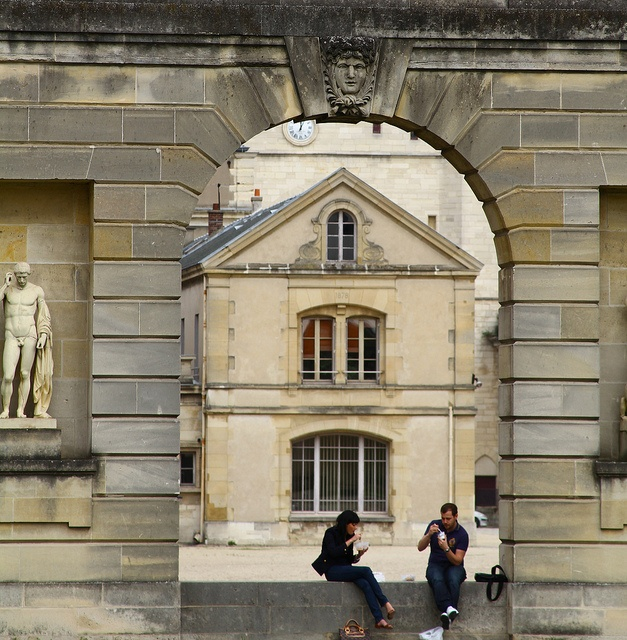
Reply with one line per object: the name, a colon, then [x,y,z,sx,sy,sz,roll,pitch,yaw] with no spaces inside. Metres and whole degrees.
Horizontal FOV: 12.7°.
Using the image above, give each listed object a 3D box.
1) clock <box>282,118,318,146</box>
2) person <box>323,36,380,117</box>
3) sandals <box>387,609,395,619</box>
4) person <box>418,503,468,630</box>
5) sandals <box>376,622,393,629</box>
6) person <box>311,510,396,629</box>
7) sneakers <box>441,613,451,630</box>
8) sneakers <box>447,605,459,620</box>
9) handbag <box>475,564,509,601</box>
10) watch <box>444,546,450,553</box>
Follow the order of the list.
clock: [-0.120,-5.437,81.413,0.551,0.871,1.356,-10,-15,35]
person: [0.589,-3.282,37.978,0.751,0.991,0.395,-1,-12,1]
sandals: [1.134,4.006,37.527,0.103,0.111,0.282,-2,-13,4]
person: [1.829,3.337,37.556,0.667,1.692,0.641,1,-12,-7]
sandals: [1.042,4.138,37.454,0.254,0.106,0.087,-1,-1,-29]
person: [0.636,3.422,37.673,1.063,1.597,0.438,-1,-12,0]
sneakers: [1.828,4.088,37.387,0.086,0.111,0.266,1,-56,6]
sneakers: [1.917,3.962,37.348,0.081,0.113,0.267,-1,-39,-4]
handbag: [2.463,3.629,38.022,0.437,0.432,0.449,4,-8,-1]
watch: [1.856,3.118,37.472,0.064,0.041,0.060,-38,-27,-26]
